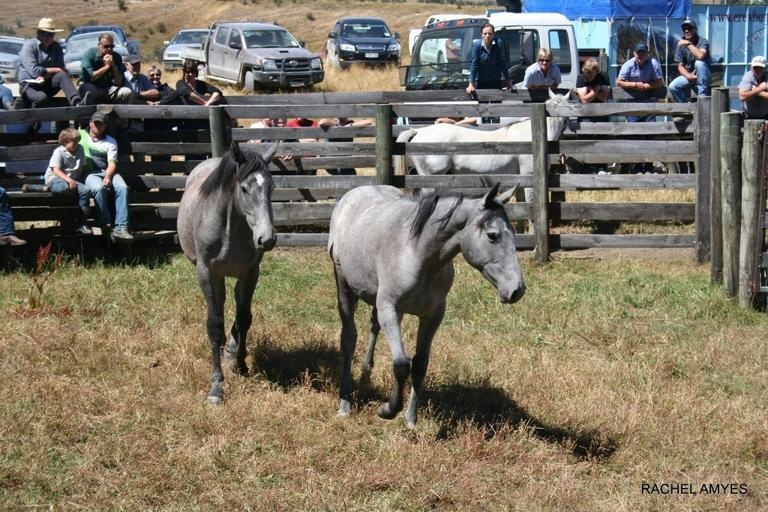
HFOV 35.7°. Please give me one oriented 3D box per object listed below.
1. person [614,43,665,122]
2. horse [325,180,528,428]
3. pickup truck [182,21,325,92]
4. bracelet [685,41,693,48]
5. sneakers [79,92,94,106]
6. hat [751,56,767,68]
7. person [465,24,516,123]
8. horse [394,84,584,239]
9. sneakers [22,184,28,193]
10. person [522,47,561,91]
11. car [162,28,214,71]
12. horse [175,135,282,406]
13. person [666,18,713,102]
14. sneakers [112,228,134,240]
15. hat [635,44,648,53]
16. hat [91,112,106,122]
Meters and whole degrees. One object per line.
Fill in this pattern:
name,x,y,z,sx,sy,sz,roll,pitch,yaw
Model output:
person,5.230,-3.585,24.571,0.859,1.698,1.578,-1,17,11
horse,0.225,0.705,17.806,1.407,3.851,5.180,2,7,-28
pickup truck,-3.743,-5.863,34.713,1.789,1.488,3.830,-8,16,-33
bracelet,6.308,-4.372,24.739,0.117,0.175,0.419,-4,1,13
sneakers,-5.584,-2.950,22.406,0.270,0.231,0.330,-4,15,-8
hat,7.420,-3.838,23.627,0.286,0.196,0.487,5,25,19
person,2.123,-3.603,24.799,0.935,2.381,0.831,-11,26,-13
horse,2.104,-1.732,23.424,3.638,3.021,0.990,2,10,5
sneakers,-6.463,-1.199,21.423,0.131,0.142,0.125,3,8,6
person,3.269,-3.779,24.805,0.755,0.913,1.345,-1,0,3
car,-6.940,-7.232,41.375,1.482,1.457,3.079,-1,12,-4
horse,-2.350,0.102,18.148,1.212,3.763,2.260,-11,17,-34
person,6.311,-4.005,24.573,0.795,1.530,1.472,2,15,16
sneakers,-4.643,-0.380,21.235,0.410,0.208,0.169,4,9,34
hat,5.189,-4.194,24.067,0.226,0.150,0.372,2,16,13
hat,-5.151,-2.496,21.533,0.160,0.232,0.217,10,7,-8
